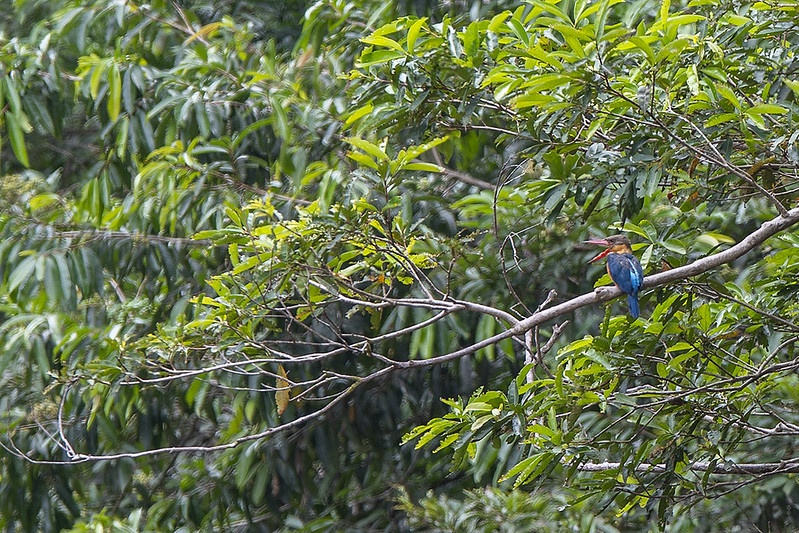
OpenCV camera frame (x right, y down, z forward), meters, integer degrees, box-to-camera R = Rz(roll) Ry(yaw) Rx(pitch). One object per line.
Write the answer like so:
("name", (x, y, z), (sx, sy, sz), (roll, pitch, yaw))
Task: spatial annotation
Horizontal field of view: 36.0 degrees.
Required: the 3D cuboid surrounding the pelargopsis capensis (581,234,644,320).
("pelargopsis capensis", (1.367, -0.023, 7.430), (0.215, 0.333, 0.700), (-4, 26, -4))
